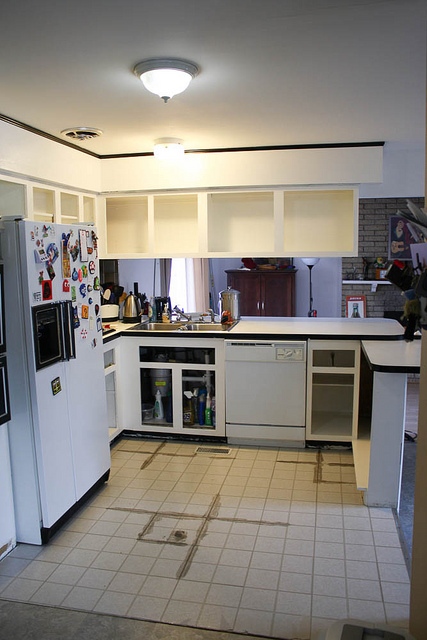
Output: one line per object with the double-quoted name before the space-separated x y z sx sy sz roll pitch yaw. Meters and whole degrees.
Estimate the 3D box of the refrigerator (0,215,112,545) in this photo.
"refrigerator" -0.828 0.291 2.457 0.190 1.617 0.690 0 4 15

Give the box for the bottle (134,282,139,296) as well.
"bottle" -0.725 -0.284 4.336 0.032 0.112 0.089 0 4 5

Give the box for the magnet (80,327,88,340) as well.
"magnet" -0.738 0.077 2.618 0.009 0.065 0.066 1 5 13

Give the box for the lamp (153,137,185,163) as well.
"lamp" -0.348 -1.335 3.656 0.227 0.144 0.496 -1 4 -3

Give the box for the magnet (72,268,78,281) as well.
"magnet" -0.764 -0.245 2.549 0.010 0.047 0.032 -2 7 20

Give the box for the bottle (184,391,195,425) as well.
"bottle" -0.197 0.708 3.743 0.076 0.275 0.134 -1 4 -4

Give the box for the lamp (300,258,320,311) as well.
"lamp" 1.394 -0.530 6.752 0.289 0.786 0.798 0 4 12

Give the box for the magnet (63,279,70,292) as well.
"magnet" -0.784 -0.183 2.448 0.020 0.067 0.055 3 9 16

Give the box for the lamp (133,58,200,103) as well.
"lamp" -0.198 -1.035 1.967 0.280 0.107 0.206 -1 4 -6

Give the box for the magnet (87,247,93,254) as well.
"magnet" -0.735 -0.414 2.743 0.021 0.032 0.012 -2 -21 -3

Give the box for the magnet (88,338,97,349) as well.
"magnet" -0.712 0.143 2.746 0.035 0.095 0.035 9 10 22

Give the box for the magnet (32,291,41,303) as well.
"magnet" -0.825 -0.109 2.158 0.009 0.040 0.039 4 5 10

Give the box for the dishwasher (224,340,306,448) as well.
"dishwasher" 0.387 0.542 3.683 0.625 0.806 0.499 2 7 3

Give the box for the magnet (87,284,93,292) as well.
"magnet" -0.734 -0.189 2.734 0.014 0.050 0.034 3 4 20
